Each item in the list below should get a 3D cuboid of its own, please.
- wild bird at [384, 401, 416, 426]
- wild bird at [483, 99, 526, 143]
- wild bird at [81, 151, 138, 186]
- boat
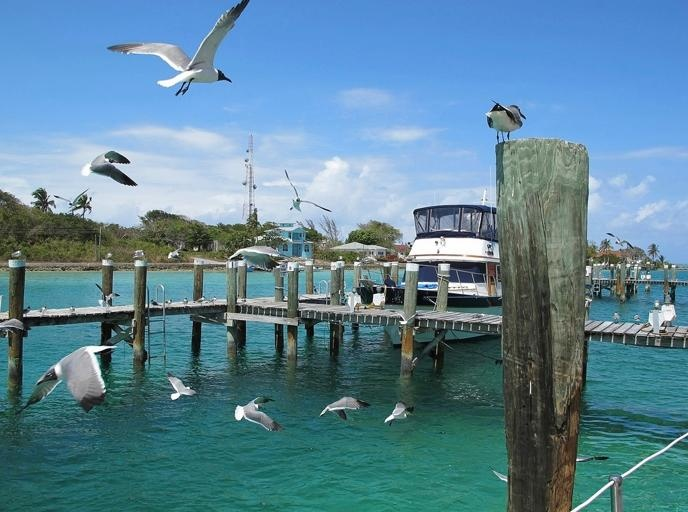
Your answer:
[{"bbox_3d":[1.304,3.850,16.108,0.754,0.366,0.903,4,-3,1],"label":"wild bird"},{"bbox_3d":[3.321,-2.878,14.175,0.751,0.545,0.445,-3,6,-38],"label":"wild bird"},{"bbox_3d":[-5.173,-1.963,15.037,0.933,0.703,0.709,3,6,29],"label":"wild bird"},{"bbox_3d":[3.955,0.749,26.939,4.423,5.542,3.267,1,5,12],"label":"boat"}]
